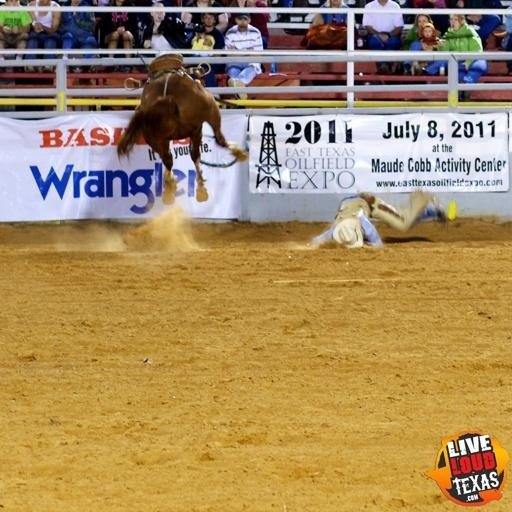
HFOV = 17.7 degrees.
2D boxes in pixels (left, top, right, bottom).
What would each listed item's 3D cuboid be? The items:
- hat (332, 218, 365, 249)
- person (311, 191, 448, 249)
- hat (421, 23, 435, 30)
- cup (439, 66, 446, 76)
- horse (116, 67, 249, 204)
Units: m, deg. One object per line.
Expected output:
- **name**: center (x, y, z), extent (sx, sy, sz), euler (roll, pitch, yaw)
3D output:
- **hat**: center (1.292, -0.286, 23.218), extent (0.422, 0.277, 0.621), euler (-3, 18, 4)
- **person**: center (1.758, -0.469, 24.158), extent (1.053, 0.650, 2.655), euler (7, 21, 31)
- **hat**: center (2.747, -3.615, 26.609), extent (0.153, 0.160, 0.205), euler (1, 12, 4)
- **cup**: center (2.983, -2.943, 26.649), extent (0.110, 0.156, 0.086), euler (22, 32, 38)
- **horse**: center (-1.116, -1.753, 23.672), extent (0.831, 1.887, 3.574), euler (-7, 5, -5)
